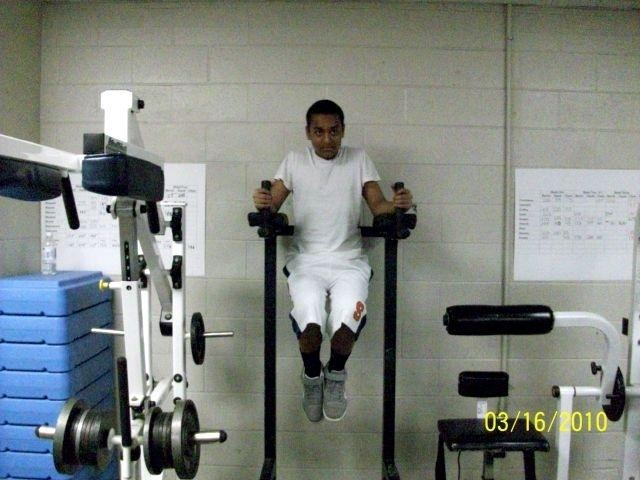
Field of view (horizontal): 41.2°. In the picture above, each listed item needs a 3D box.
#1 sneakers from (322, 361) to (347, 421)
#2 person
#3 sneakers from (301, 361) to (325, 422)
[{"bbox_3d":[0.084,0.920,5.141,0.103,0.143,0.350,0,36,-1],"label":"sneakers"},{"bbox_3d":[0.076,0.108,5.307,0.897,1.848,0.887,2,21,5],"label":"person"},{"bbox_3d":[-0.049,0.938,5.143,0.102,0.378,0.137,-1,-17,1],"label":"sneakers"}]
